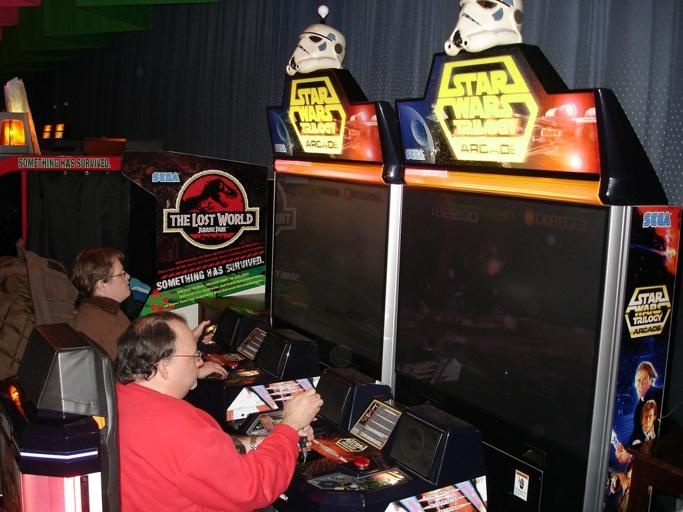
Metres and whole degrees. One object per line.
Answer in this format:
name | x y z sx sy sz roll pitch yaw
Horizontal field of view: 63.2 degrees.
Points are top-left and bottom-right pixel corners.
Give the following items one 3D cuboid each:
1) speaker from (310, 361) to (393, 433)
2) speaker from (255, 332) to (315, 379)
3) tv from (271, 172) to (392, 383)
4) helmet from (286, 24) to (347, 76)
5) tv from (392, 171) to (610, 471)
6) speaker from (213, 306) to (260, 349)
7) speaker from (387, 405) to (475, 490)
speaker | 0.027 0.642 2.607 0.275 0.185 0.264 -6 9 -29
speaker | -0.296 0.523 2.983 0.232 0.208 0.274 1 3 -31
tv | -0.031 0.117 3.095 0.372 1.035 1.041 -3 8 -34
helmet | -0.149 -1.104 3.034 0.316 0.258 0.254 0 14 -10
tv | 0.697 0.274 2.327 0.182 1.342 1.150 -5 10 -35
speaker | -0.629 0.424 3.398 0.249 0.191 0.241 -2 4 -34
speaker | 0.361 0.712 2.194 0.255 0.200 0.276 3 1 -32
